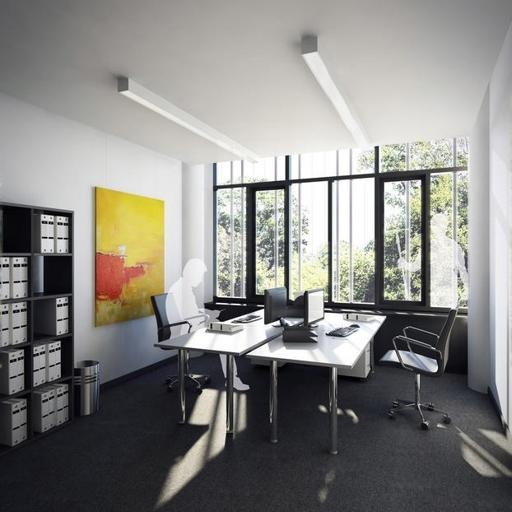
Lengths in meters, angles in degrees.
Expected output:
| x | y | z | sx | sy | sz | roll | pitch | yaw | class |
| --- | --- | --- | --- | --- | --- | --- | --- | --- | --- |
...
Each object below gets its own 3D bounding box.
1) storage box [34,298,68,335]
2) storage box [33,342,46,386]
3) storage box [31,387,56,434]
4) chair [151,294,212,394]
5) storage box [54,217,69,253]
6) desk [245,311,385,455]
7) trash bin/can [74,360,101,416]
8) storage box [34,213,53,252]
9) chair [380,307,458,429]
| x | y | z | sx | sy | sz | roll | pitch | yaw | class |
| --- | --- | --- | --- | --- | --- | --- | --- | --- | --- |
| -1.958 | 0.582 | 3.960 | 0.237 | 0.366 | 0.217 | -1 | -1 | 2 | storage box |
| -1.942 | 0.983 | 3.677 | 0.046 | 0.359 | 0.172 | 0 | 1 | 5 | storage box |
| -1.931 | 1.401 | 3.745 | 0.149 | 0.378 | 0.165 | 0 | 1 | 17 | storage box |
| -0.956 | 1.070 | 5.118 | 0.589 | 1.133 | 0.590 | -5 | -1 | 9 | chair |
| -1.857 | -0.194 | 3.942 | 0.042 | 0.343 | 0.162 | 0 | 1 | 15 | storage box |
| 0.652 | 1.179 | 4.062 | 0.906 | 0.784 | 1.829 | 0 | 2 | 23 | desk |
| -1.726 | 1.364 | 4.182 | 0.238 | 0.473 | 0.153 | -1 | 1 | -30 | trash bin/can |
| -1.938 | -0.195 | 3.759 | 0.094 | 0.361 | 0.211 | 1 | 2 | 44 | storage box |
| 1.611 | 1.090 | 4.130 | 0.682 | 1.120 | 0.733 | 1 | 1 | -31 | chair |
